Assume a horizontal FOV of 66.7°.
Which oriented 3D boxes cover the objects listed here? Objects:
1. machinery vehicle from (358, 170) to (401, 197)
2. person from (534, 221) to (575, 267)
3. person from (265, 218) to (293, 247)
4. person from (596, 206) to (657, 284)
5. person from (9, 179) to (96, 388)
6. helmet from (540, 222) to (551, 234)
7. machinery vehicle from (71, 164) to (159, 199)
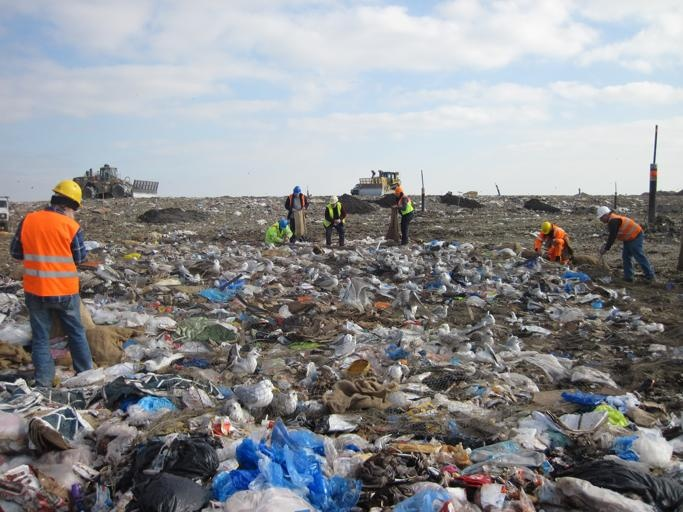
[{"bbox_3d":[2.278,-4.650,33.250,2.832,1.996,7.057,0,5,5],"label":"machinery vehicle"},{"bbox_3d":[4.356,-0.288,10.650,0.753,0.813,1.087,2,6,24],"label":"person"},{"bbox_3d":[-1.677,-0.614,13.455,0.616,0.625,1.041,2,5,17],"label":"person"},{"bbox_3d":[5.085,-0.212,9.249,0.956,1.288,0.879,2,6,24],"label":"person"},{"bbox_3d":[-2.792,0.257,5.048,0.630,1.981,0.531,-4,7,-34],"label":"person"},{"bbox_3d":[4.113,-0.600,10.499,0.221,0.270,0.180,11,-29,30],"label":"helmet"},{"bbox_3d":[-13.440,-4.297,30.066,3.659,1.308,1.842,1,23,-26],"label":"machinery vehicle"}]
